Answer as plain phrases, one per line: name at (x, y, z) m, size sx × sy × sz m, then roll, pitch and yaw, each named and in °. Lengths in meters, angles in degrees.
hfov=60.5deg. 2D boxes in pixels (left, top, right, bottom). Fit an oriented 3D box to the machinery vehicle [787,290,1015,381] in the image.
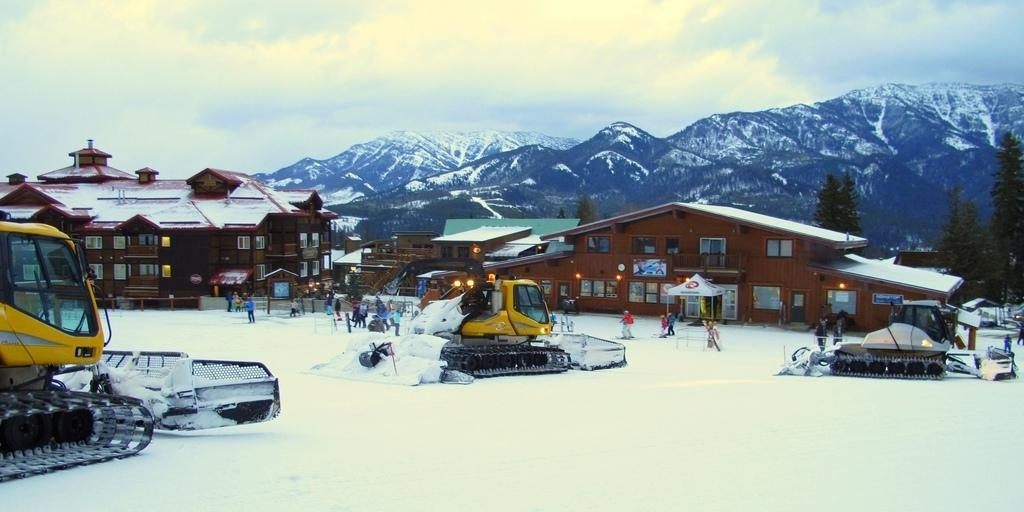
machinery vehicle at (22.085, 5.531, 50.617) m, size 10.463 × 3.083 × 6.778 m, roll -1°, pitch -3°, yaw 12°
